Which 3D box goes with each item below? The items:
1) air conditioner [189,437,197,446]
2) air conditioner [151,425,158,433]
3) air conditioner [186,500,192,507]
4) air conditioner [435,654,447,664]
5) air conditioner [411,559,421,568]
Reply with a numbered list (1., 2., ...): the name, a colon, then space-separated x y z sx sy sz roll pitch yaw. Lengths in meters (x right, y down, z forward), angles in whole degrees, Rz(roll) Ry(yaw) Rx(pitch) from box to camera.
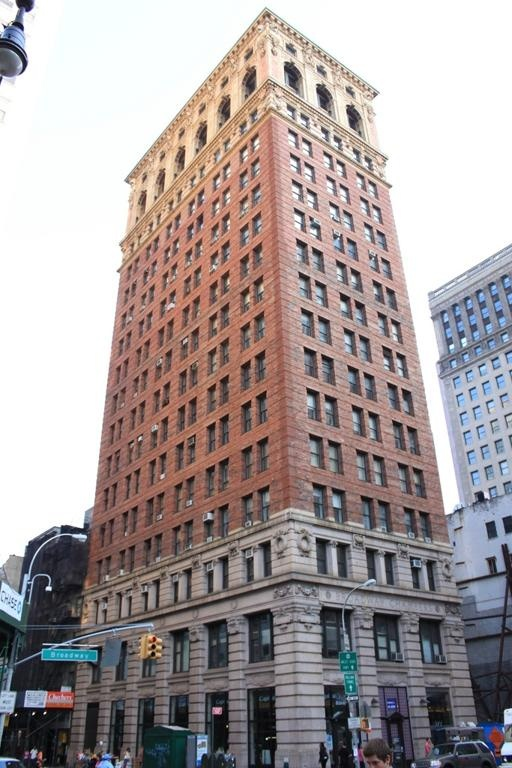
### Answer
1. air conditioner: -5.133 4.710 47.912 0.248 0.529 0.549 14 -39 -21
2. air conditioner: -9.395 4.195 54.702 0.607 0.815 0.818 6 -25 -15
3. air conditioner: -5.156 9.240 45.355 0.306 0.327 0.340 20 -42 -24
4. air conditioner: 12.459 18.819 40.128 0.906 0.679 0.521 4 -9 0
5. air conditioner: 11.147 12.692 41.568 0.497 0.439 0.274 15 -32 -26
